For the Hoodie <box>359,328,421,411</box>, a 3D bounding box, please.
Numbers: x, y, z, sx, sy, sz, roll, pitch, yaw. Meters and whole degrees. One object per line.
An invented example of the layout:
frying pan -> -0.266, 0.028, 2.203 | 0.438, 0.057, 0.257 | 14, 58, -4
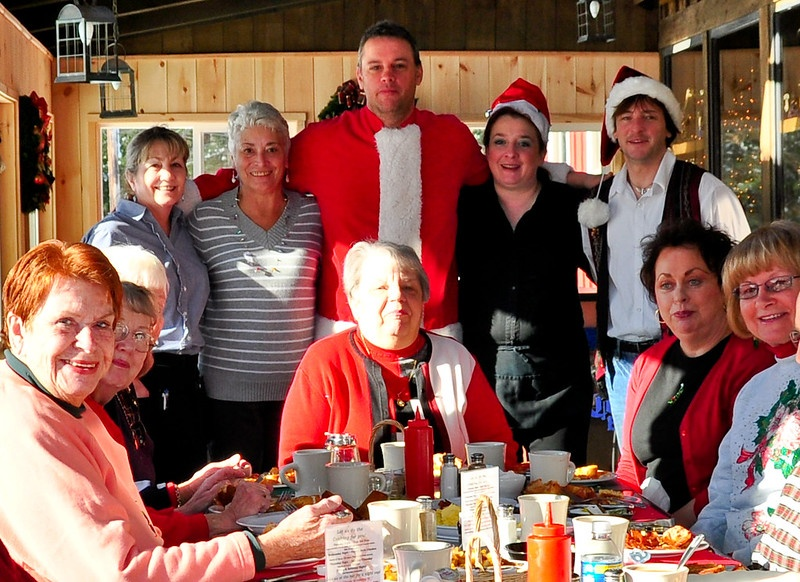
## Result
Hoodie -> -0.028, 0.326, 3.965 | 0.261, 0.401, 0.193 | -1, -21, -11

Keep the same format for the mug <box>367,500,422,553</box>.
mug -> -0.019, 0.667, 2.927 | 0.107, 0.122, 0.149 | -1, -5, 1

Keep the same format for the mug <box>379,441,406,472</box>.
mug -> -0.026, 0.575, 3.577 | 0.081, 0.078, 0.093 | 0, -8, 0

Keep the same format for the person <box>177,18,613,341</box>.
person -> -0.073, -0.628, 5.371 | 1.977, 1.730, 0.663 | 0, -2, -6

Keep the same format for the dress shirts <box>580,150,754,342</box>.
dress shirts -> 1.127, -0.191, 4.436 | 0.321, 0.972, 0.984 | 1, -4, -36

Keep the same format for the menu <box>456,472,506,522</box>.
menu -> 0.236, 0.618, 3.073 | 0.146, 0.193, 0.013 | 6, -9, -41

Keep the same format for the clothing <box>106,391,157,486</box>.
clothing -> -0.934, 0.516, 3.658 | 0.099, 0.310, 0.213 | -14, 9, -16

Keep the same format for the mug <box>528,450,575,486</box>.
mug -> 0.516, 0.604, 3.538 | 0.119, 0.109, 0.103 | 2, -5, -5

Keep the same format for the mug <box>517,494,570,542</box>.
mug -> 0.431, 0.680, 3.131 | 0.144, 0.127, 0.194 | -3, 2, 6

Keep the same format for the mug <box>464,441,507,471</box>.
mug -> 0.296, 0.572, 3.579 | 0.082, 0.090, 0.117 | -1, -8, 1

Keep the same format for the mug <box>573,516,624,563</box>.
mug -> 0.559, 0.695, 2.918 | 0.105, 0.136, 0.129 | 0, -5, 2

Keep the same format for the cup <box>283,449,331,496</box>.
cup -> -0.297, 0.603, 3.499 | 0.177, 0.195, 0.107 | -3, 3, -30

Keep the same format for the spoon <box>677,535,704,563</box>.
spoon -> 0.823, 0.742, 2.952 | 0.021, 0.100, 0.017 | 12, 30, -37
